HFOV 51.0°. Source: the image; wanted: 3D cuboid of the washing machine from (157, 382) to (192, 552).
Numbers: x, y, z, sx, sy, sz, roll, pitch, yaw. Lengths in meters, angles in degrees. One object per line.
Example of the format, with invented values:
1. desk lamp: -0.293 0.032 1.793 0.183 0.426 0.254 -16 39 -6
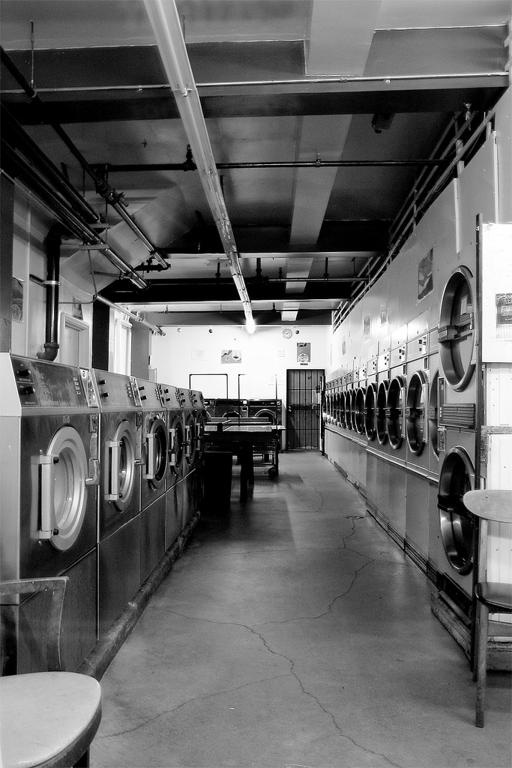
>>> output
1. washing machine: -0.686 0.725 4.484 0.267 1.205 1.073 0 -3 -2

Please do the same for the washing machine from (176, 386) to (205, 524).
1. washing machine: -0.670 0.749 5.441 0.413 1.346 1.059 0 -4 -2
